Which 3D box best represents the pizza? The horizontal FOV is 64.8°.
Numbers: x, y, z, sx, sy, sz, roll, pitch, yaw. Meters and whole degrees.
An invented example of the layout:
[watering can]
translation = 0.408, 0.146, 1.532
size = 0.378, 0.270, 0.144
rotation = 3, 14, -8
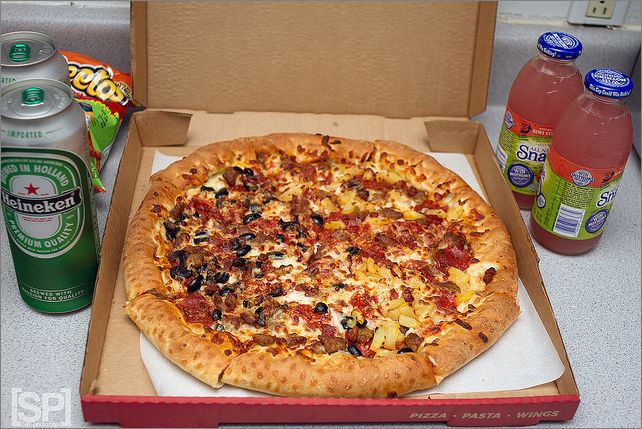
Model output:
[pizza]
translation = -0.003, 0.119, 1.853
size = 1.434, 0.211, 1.144
rotation = 8, 43, 6
